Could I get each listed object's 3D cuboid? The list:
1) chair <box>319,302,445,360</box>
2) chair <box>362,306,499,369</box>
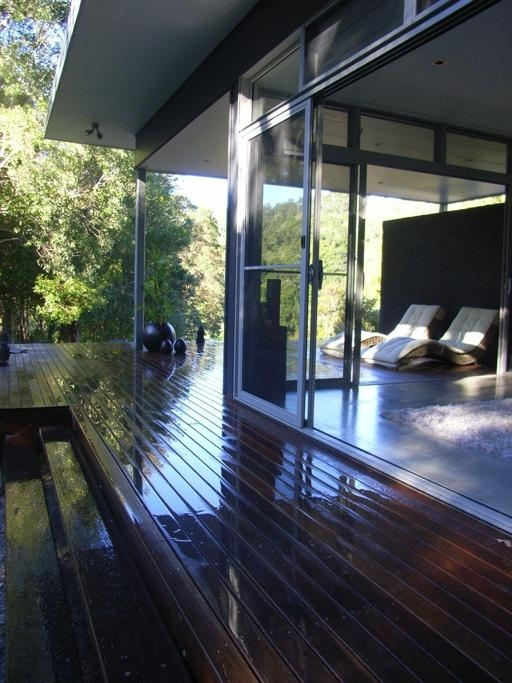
[{"bbox_3d":[2.019,-0.195,7.876,1.722,0.904,0.954,-1,3,-22],"label":"chair"},{"bbox_3d":[2.692,-0.074,7.401,1.907,0.910,0.775,0,3,-22],"label":"chair"}]
